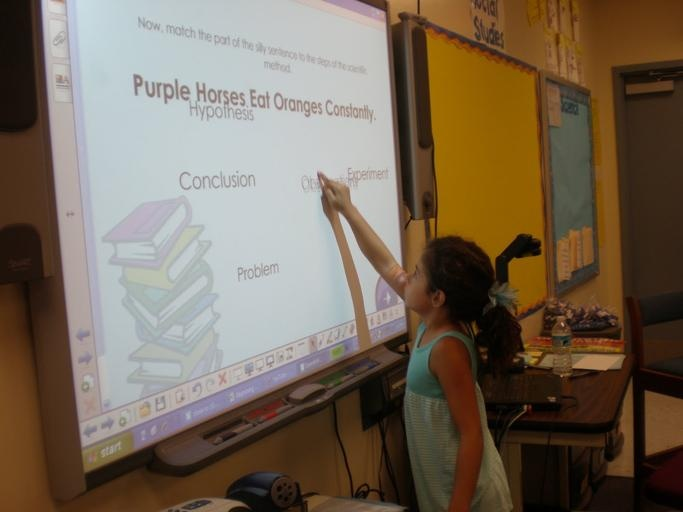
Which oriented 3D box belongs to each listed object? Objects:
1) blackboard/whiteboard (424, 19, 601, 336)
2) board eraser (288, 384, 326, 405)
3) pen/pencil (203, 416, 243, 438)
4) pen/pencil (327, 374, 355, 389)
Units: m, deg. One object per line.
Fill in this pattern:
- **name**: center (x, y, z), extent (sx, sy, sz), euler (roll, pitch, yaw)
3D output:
- **blackboard/whiteboard**: center (0.807, -0.390, 2.798), extent (0.034, 1.189, 1.766), euler (-1, -4, 30)
- **board eraser**: center (-0.100, 0.382, 1.685), extent (0.042, 0.022, 0.076), euler (11, 19, 34)
- **pen/pencil**: center (-0.298, 0.438, 1.504), extent (0.027, 0.030, 0.110), euler (-9, 4, 39)
- **pen/pencil**: center (0.000, 0.379, 1.791), extent (0.022, 0.022, 0.124), euler (6, 12, 24)
